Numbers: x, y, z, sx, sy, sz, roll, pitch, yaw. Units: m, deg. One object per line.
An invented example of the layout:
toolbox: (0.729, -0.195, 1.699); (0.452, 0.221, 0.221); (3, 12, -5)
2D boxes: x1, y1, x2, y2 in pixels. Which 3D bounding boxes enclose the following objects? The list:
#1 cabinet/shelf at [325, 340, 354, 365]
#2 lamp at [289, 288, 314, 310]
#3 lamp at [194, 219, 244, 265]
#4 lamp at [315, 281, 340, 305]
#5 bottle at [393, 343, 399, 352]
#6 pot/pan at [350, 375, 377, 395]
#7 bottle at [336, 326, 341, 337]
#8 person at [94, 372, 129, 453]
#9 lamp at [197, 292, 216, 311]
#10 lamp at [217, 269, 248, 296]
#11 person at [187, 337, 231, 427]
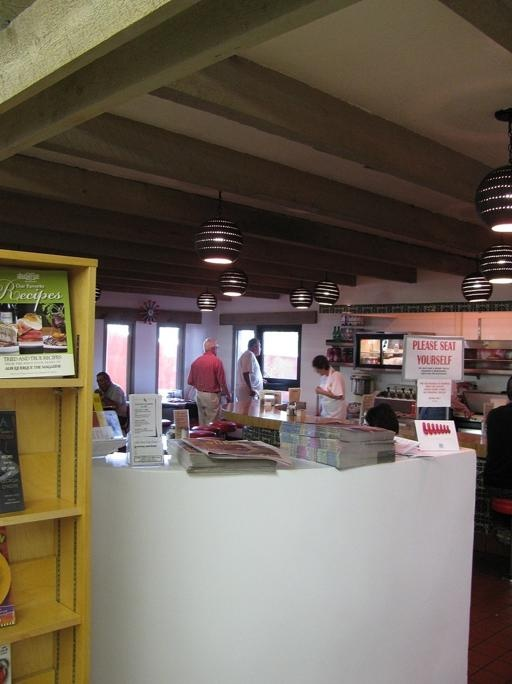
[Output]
cabinet/shelf: (1.636, 0.202, 9.749); (0.760, 0.491, 0.408); (3, 6, 24)
lamp: (0.680, -0.603, 7.273); (0.311, 0.390, 0.304); (1, -1, -37)
lamp: (-0.316, -0.692, 3.674); (0.326, 0.408, 0.321); (-2, -4, 29)
lamp: (0.898, -0.615, 6.526); (0.297, 0.325, 0.338); (-2, 12, 6)
bottle: (2.410, 0.094, 8.694); (0.132, 0.181, 0.071); (7, 16, 38)
pot/pan: (1.954, 0.776, 9.211); (0.404, 0.414, 0.356); (2, 1, 15)
bottle: (1.607, -0.178, 9.893); (0.106, 0.195, 0.189); (-1, 12, 9)
person: (-1.999, 0.886, 7.089); (0.346, 0.984, 0.643); (-7, 13, -16)
lamp: (-0.765, -0.611, 7.751); (0.313, 0.323, 0.287); (0, -6, 13)
lamp: (-0.256, -0.639, 5.550); (0.291, 0.246, 0.282); (0, 1, 17)
person: (-0.733, 0.674, 7.880); (0.566, 1.446, 0.804); (-6, 13, -14)
